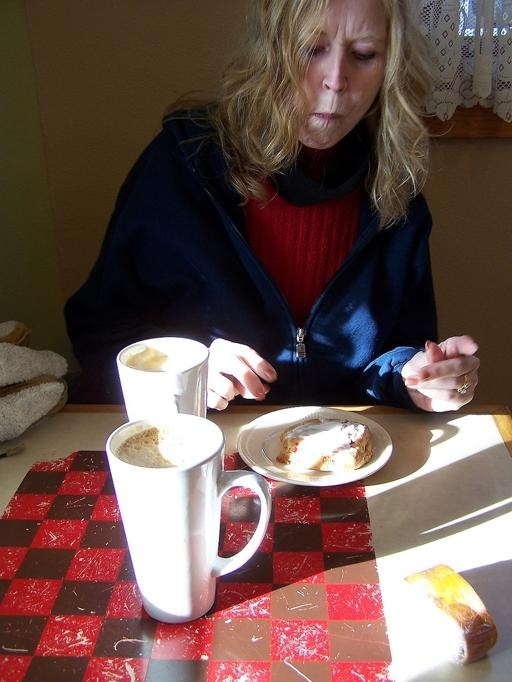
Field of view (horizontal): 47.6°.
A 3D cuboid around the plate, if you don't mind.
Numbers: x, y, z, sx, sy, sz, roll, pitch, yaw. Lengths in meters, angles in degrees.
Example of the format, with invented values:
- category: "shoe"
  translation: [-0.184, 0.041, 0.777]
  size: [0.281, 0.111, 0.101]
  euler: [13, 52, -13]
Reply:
- category: "plate"
  translation: [0.095, 0.141, 0.750]
  size: [0.167, 0.018, 0.159]
  euler: [-18, 24, -23]

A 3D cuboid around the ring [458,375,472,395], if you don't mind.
- category: "ring"
  translation: [0.309, 0.065, 0.860]
  size: [0.022, 0.018, 0.029]
  euler: [9, 69, 32]

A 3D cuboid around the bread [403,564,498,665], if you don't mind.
- category: "bread"
  translation: [0.160, 0.221, 0.473]
  size: [0.039, 0.021, 0.064]
  euler: [-19, 36, -19]
